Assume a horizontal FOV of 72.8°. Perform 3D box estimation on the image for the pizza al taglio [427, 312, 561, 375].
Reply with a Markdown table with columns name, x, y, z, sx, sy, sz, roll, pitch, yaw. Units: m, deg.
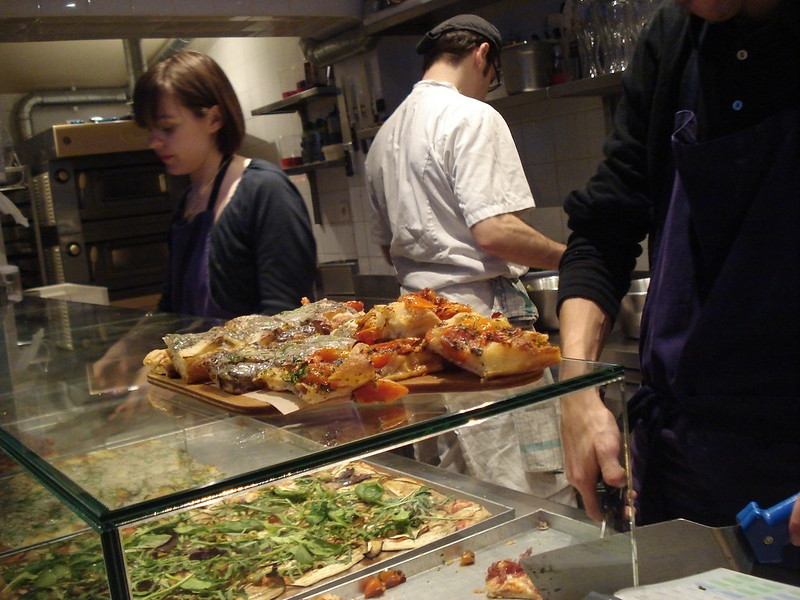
| name | x | y | z | sx | sy | sz | roll | pitch | yaw |
| --- | --- | --- | --- | --- | --- | --- | --- | --- | --- |
| pizza al taglio | 0.118 | 0.042 | 0.661 | 0.100 | 0.024 | 0.094 | -7 | 17 | -39 |

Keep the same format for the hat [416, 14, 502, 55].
| name | x | y | z | sx | sy | sz | roll | pitch | yaw |
| --- | --- | --- | --- | --- | --- | --- | --- | --- | --- |
| hat | 0.195 | -0.934 | 1.880 | 0.243 | 0.100 | 0.189 | -7 | 26 | -26 |
